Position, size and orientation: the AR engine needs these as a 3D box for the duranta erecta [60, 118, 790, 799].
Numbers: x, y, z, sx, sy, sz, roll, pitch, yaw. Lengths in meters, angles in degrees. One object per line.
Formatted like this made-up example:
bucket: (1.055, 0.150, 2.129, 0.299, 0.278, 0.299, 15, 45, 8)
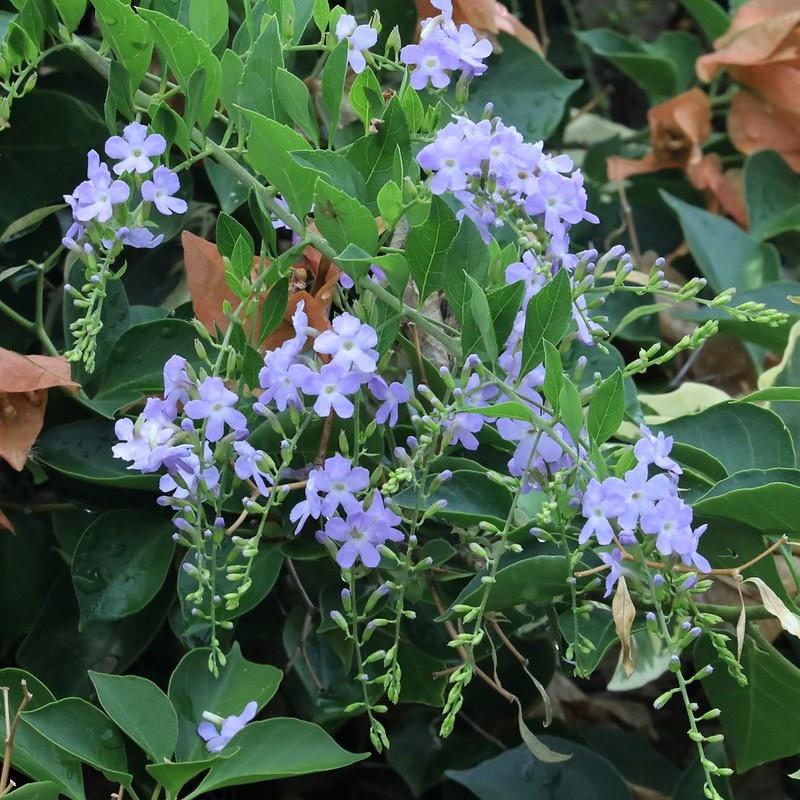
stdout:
duranta erecta: (0.011, 0.008, 0.772, 0.510, 0.439, 0.258, -1, 19, 1)
